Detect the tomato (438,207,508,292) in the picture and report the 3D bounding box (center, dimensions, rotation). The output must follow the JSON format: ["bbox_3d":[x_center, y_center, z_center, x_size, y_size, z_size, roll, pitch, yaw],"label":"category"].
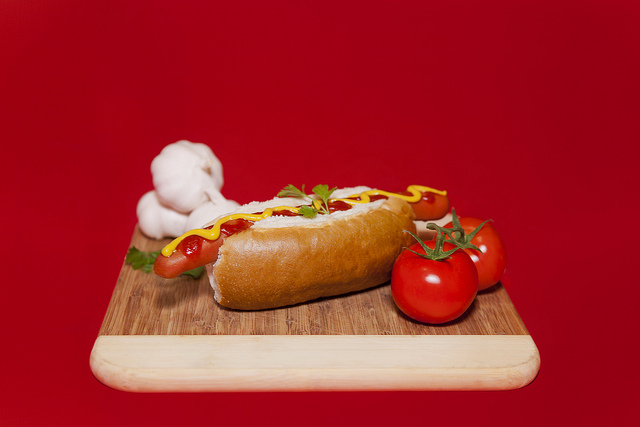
[{"bbox_3d":[0.952,0.263,3.806,0.418,0.396,0.399,-25,24,-23],"label":"tomato"}]
